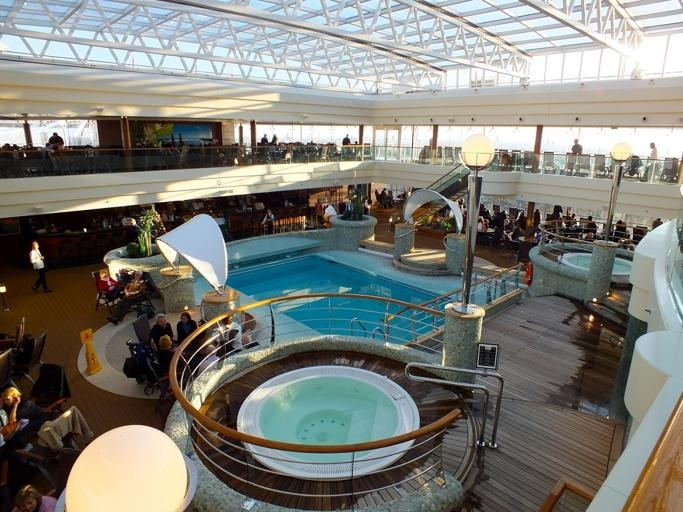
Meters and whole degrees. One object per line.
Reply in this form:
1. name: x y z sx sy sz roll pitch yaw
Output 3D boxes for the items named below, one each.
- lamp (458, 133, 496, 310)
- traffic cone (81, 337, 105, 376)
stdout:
1. lamp: 1.901 -0.434 6.115 0.431 2.673 0.850 5 17 20
2. traffic cone: -5.452 2.112 9.005 0.315 0.765 0.638 -10 18 -31
